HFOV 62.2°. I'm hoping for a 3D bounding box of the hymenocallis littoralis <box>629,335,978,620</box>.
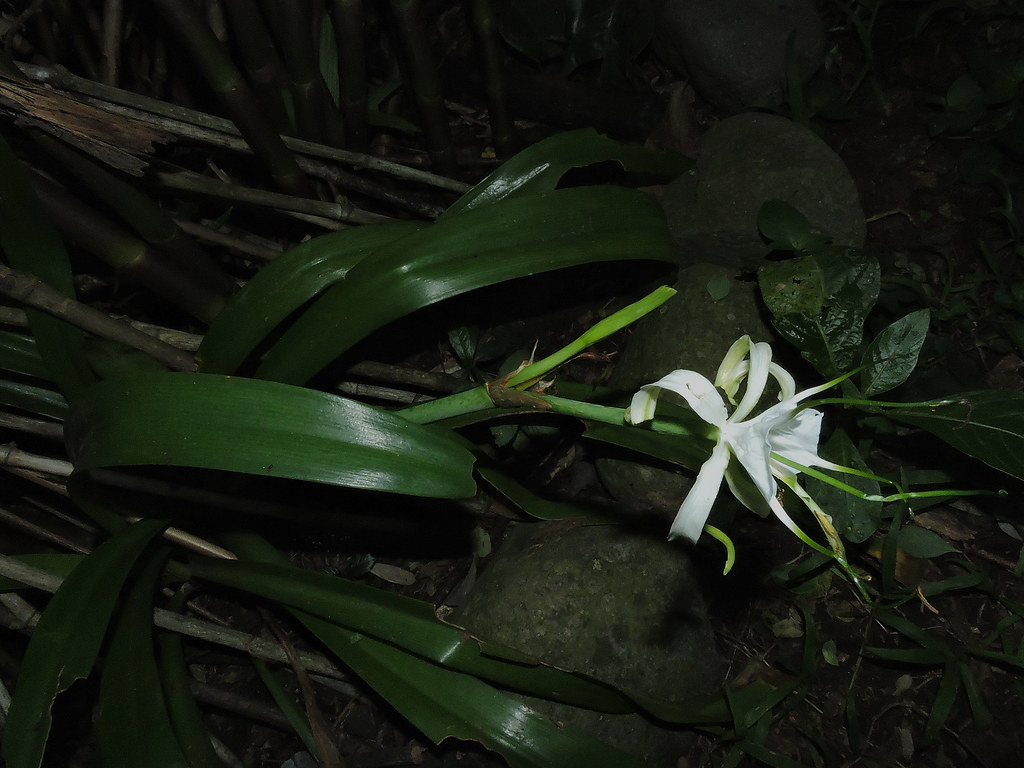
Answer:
[{"bbox_3d":[0.388,0.116,1.246,0.328,0.215,0.409,-31,62,-28],"label":"hymenocallis littoralis"}]
